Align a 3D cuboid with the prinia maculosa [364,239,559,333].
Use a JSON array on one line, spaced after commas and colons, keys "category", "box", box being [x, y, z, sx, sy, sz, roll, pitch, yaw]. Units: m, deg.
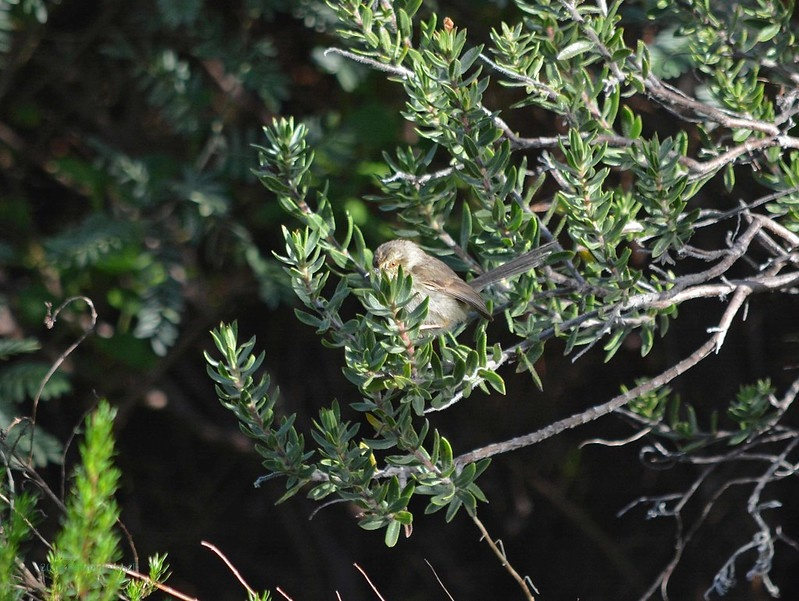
[{"category": "prinia maculosa", "box": [0.227, -0.098, 5.561, 0.590, 0.630, 0.738, -1, -3, 20]}]
